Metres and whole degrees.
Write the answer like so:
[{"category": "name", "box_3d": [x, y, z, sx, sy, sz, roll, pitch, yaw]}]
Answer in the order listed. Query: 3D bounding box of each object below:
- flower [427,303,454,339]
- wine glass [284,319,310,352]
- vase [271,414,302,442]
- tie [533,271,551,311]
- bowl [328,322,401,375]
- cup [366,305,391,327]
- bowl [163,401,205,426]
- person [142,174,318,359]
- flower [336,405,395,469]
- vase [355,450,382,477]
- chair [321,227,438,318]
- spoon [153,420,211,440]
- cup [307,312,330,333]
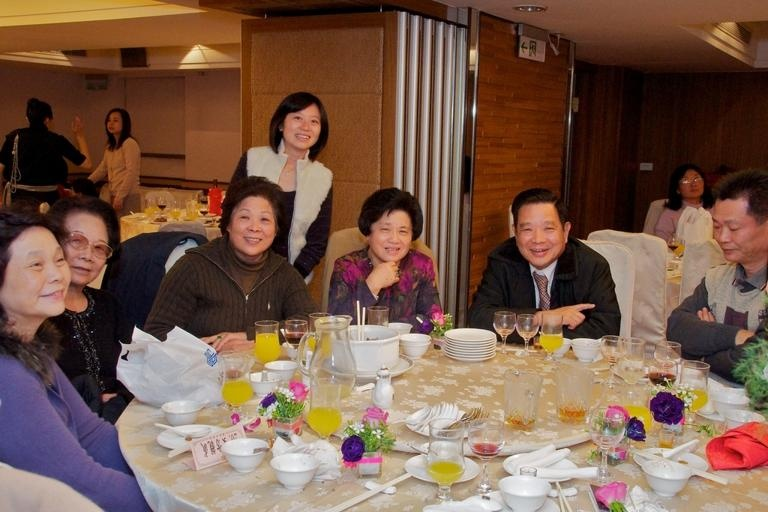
[{"category": "flower", "box_3d": [0.292, 0.323, 2.743, 0.118, 0.120, 0.112, -8, -8, -15]}, {"category": "wine glass", "box_3d": [-0.381, 0.339, 2.360, 0.125, 0.152, 0.134, 1, -4, -3]}, {"category": "vase", "box_3d": [-0.323, 0.564, 1.835, 0.078, 0.062, 0.080, -3, -5, 32]}, {"category": "tie", "box_3d": [0.916, 0.202, 3.208, 0.058, 0.281, 0.044, -5, 8, 21]}, {"category": "bowl", "box_3d": [-0.077, 0.355, 2.074, 0.231, 0.145, 0.274, 0, -3, -3]}, {"category": "cup", "box_3d": [-0.028, 0.273, 2.556, 0.084, 0.094, 0.086, 1, -1, 0]}, {"category": "bowl", "box_3d": [-0.691, 0.529, 1.895, 0.082, 0.041, 0.096, 0, -2, 36]}, {"category": "person", "box_3d": [-0.764, 0.087, 2.819, 0.856, 0.952, 0.625, 1, 16, -28]}, {"category": "flower", "box_3d": [-0.049, 0.564, 1.684, 0.171, 0.143, 0.206, 0, 6, -9]}, {"category": "vase", "box_3d": [-0.041, 0.628, 1.649, 0.069, 0.049, 0.071, 0, 4, 0]}, {"category": "chair", "box_3d": [-0.074, 0.120, 3.391, 0.510, 0.698, 0.560, 3, -8, -12]}, {"category": "spoon", "box_3d": [-0.646, 0.577, 1.824, 0.095, 0.015, 0.068, 9, 6, 1]}, {"category": "cup", "box_3d": [-0.301, 0.284, 2.479, 0.095, 0.113, 0.098, 0, 3, 0]}]
